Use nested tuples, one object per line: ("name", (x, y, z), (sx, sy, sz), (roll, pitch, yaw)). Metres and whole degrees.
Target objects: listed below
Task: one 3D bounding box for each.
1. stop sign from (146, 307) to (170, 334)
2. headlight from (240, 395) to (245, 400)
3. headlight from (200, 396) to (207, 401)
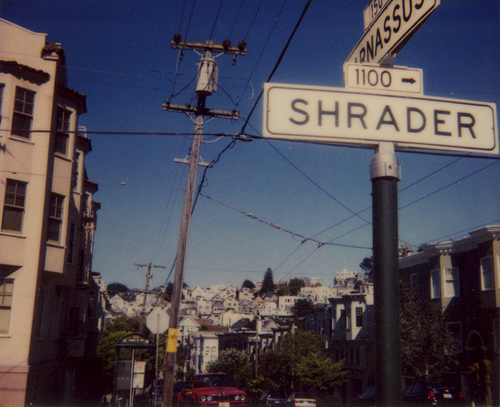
("stop sign", (-3.303, 4.013, 22.856), (0.794, 0.497, 0.882), (2, -59, -11))
("headlight", (-0.289, 7.356, 24.301), (0.129, 0.152, 0.032), (-2, -12, -7))
("headlight", (-1.777, 7.316, 24.072), (0.140, 0.165, 0.035), (-1, -7, -9))
